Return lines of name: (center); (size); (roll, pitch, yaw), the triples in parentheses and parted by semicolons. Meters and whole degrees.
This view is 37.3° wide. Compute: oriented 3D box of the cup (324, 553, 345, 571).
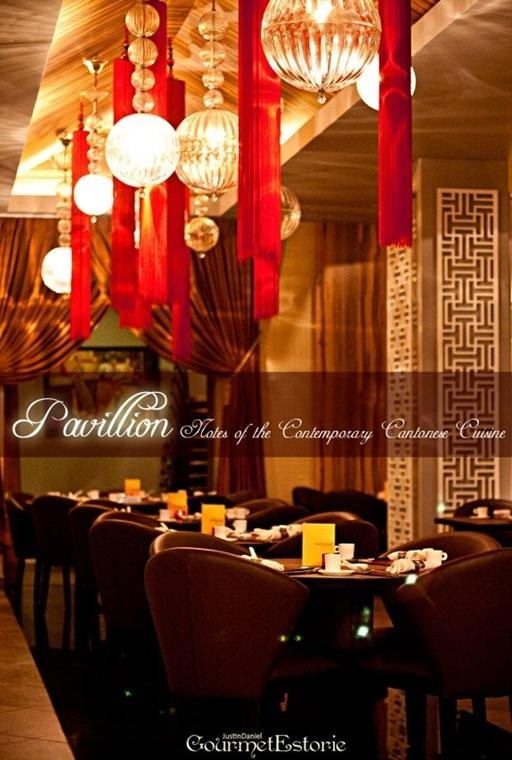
cup: (0.278, 0.667, 2.743); (0.060, 0.062, 0.062); (-1, -9, 0)

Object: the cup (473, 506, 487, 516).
cup: (1.618, 0.954, 5.479); (0.088, 0.076, 0.078); (2, -9, -2)
